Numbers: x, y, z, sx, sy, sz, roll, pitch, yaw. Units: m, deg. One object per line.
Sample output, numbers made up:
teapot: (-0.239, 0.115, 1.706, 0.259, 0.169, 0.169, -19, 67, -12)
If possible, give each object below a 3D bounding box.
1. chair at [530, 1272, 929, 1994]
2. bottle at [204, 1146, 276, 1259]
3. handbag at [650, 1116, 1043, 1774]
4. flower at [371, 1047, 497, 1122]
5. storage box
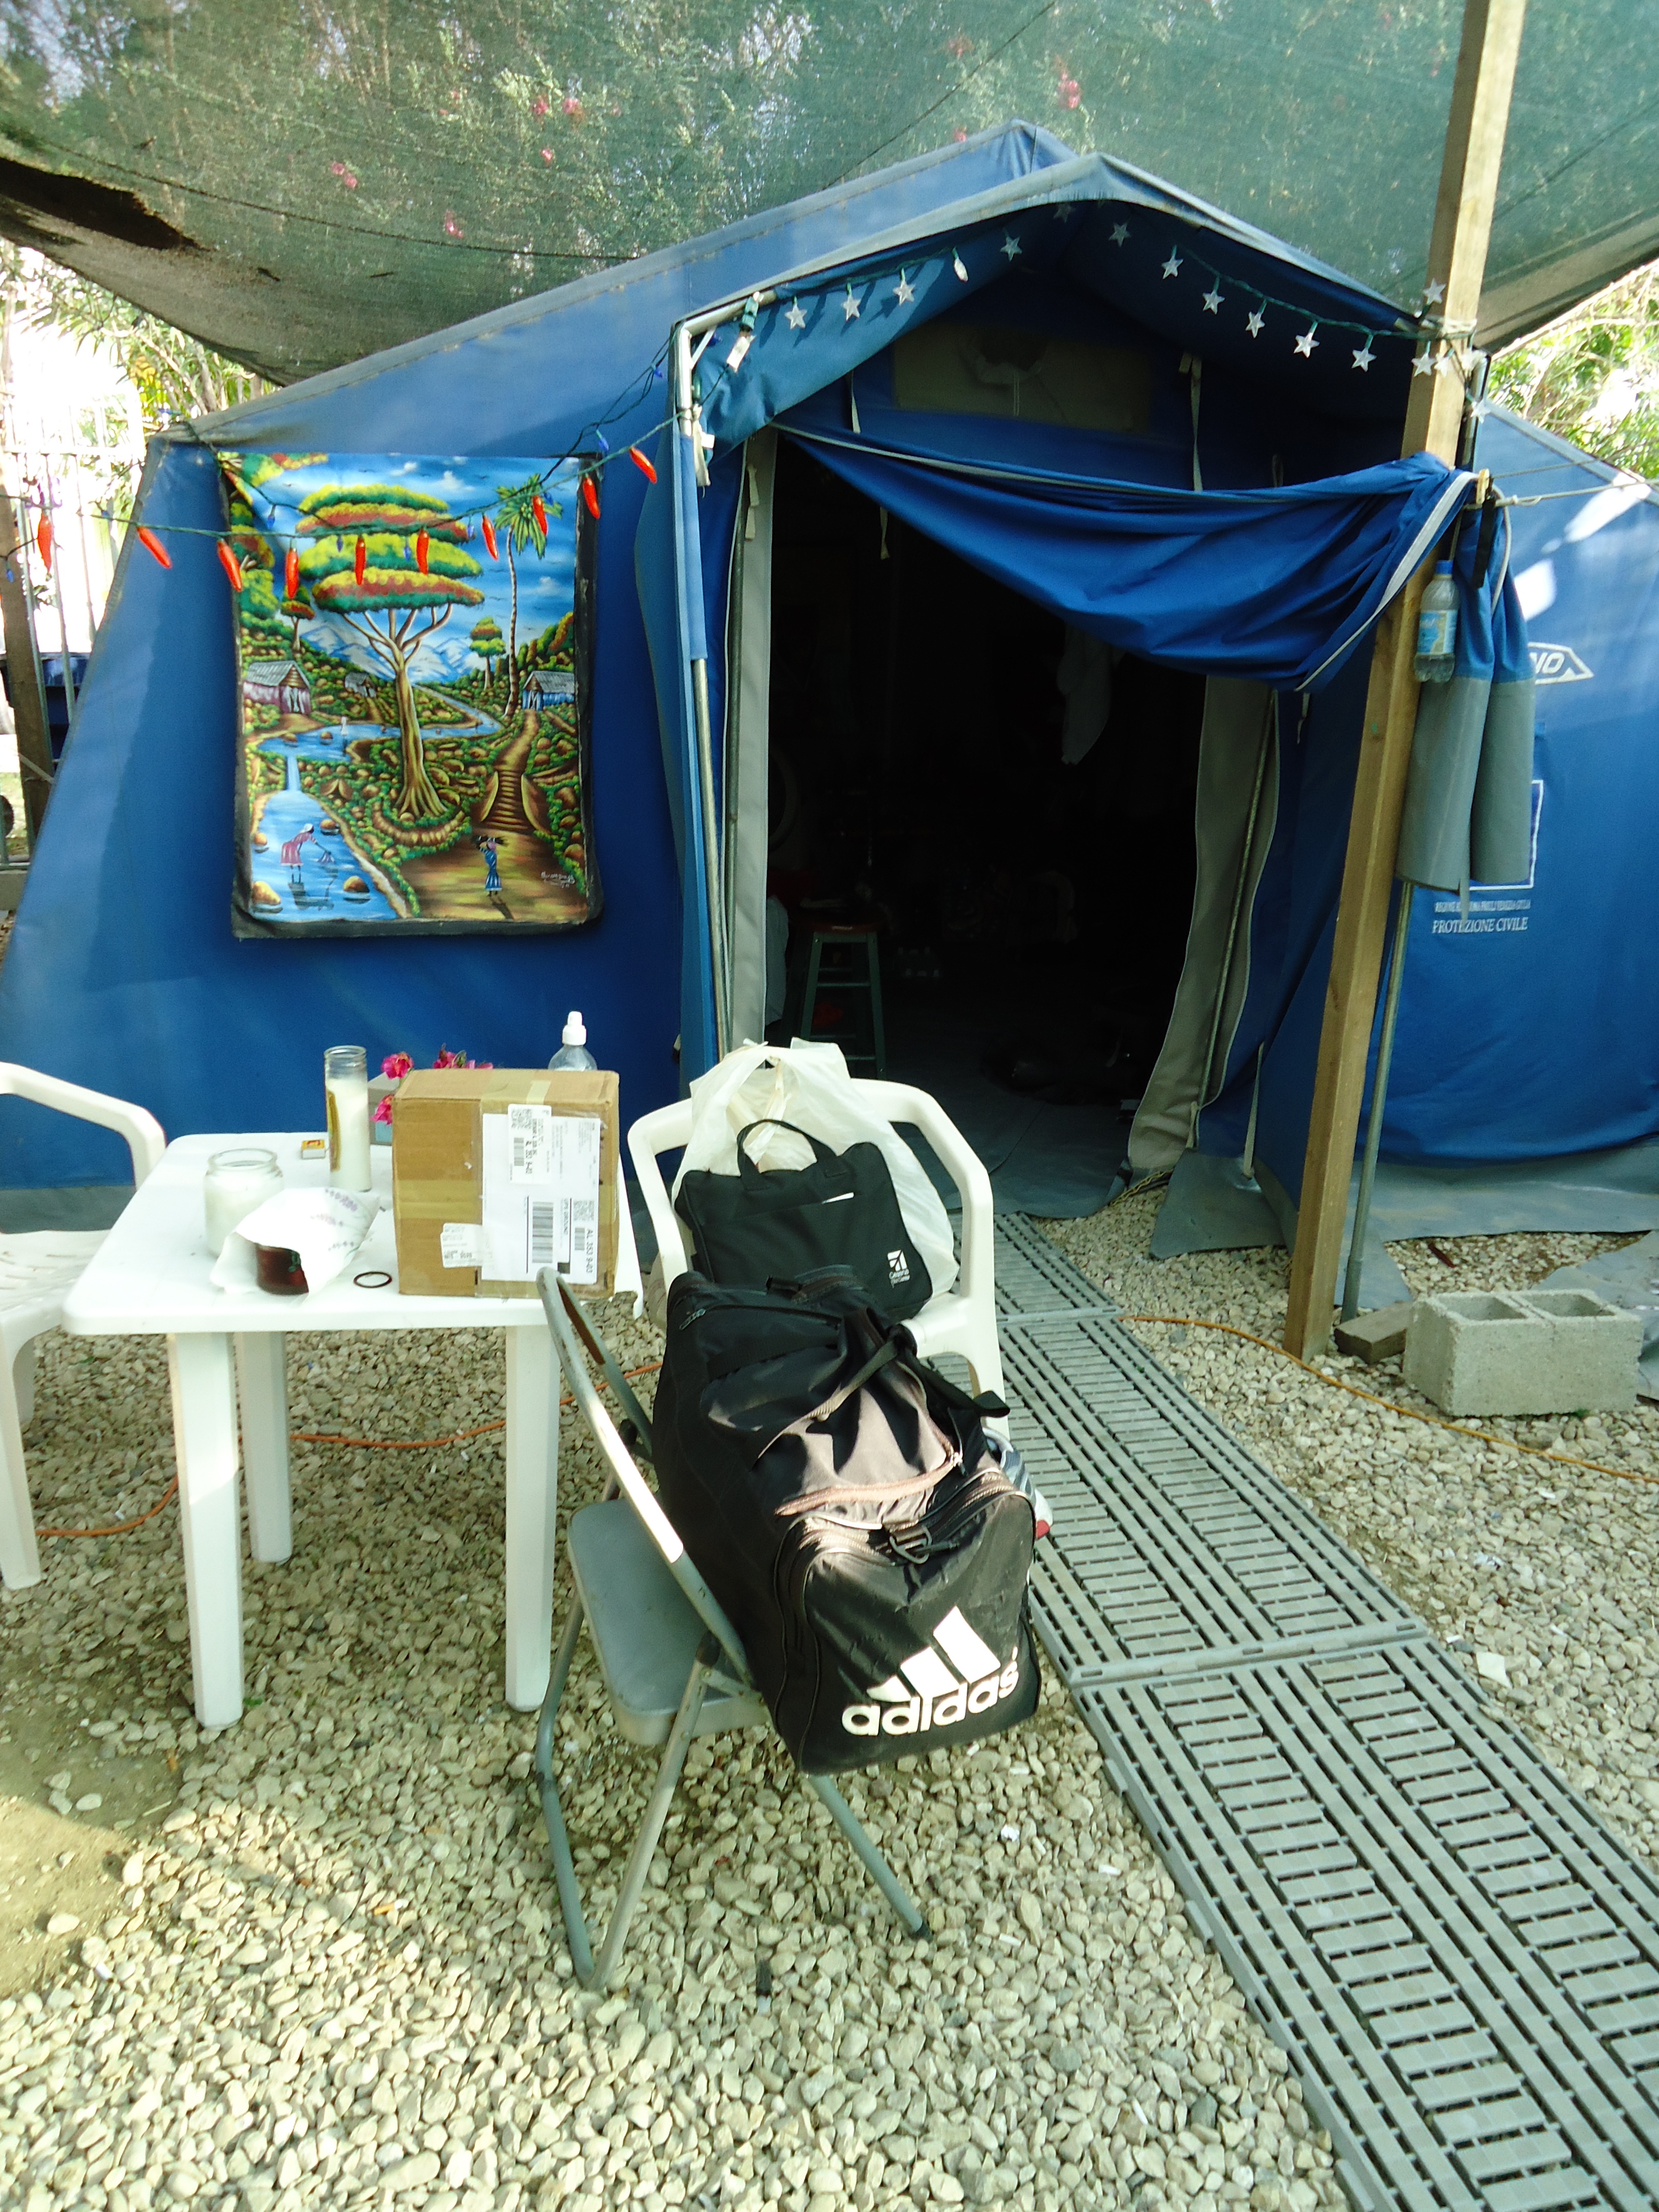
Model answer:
chair: (-0.115, 0.641, 1.900, 0.559, 0.849, 0.481, -4, 27, -11)
bottle: (-0.837, 0.139, 2.313, 0.096, 0.142, 0.146, -10, 18, -35)
handbag: (-0.030, 0.393, 1.897, 0.396, 0.271, 0.722, -7, 28, -23)
flower: (-0.624, -0.034, 2.524, 0.155, 0.099, 0.158, -5, 11, -31)
storage box: (-0.441, 0.108, 2.269, 0.313, 0.267, 0.240, 2, 9, -2)
